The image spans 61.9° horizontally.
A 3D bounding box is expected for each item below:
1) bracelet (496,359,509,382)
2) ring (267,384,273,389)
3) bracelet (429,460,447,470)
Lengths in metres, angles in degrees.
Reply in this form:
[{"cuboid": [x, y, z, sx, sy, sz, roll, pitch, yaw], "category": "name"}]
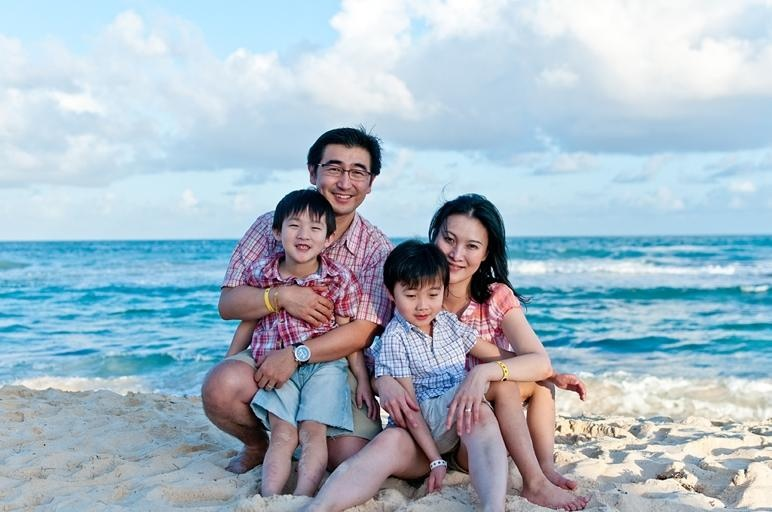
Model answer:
[{"cuboid": [1.038, 1.076, 6.001, 0.112, 0.154, 0.168, -12, -23, -18], "category": "bracelet"}, {"cuboid": [-1.122, 1.258, 6.170, 0.052, 0.035, 0.051, 3, -7, 0], "category": "ring"}, {"cuboid": [0.473, 1.926, 5.932, 0.134, 0.093, 0.085, 0, 4, -8], "category": "bracelet"}]
